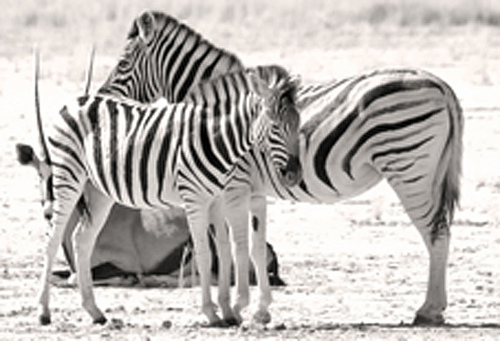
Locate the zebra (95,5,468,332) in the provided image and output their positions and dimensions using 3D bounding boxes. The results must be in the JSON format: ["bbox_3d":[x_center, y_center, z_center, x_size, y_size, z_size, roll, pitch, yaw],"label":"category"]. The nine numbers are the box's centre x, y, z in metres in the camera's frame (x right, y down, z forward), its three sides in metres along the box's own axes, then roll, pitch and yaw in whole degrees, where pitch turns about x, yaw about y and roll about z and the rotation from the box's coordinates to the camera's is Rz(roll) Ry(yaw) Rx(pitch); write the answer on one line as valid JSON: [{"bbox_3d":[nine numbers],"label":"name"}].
[{"bbox_3d":[0.463,0.159,18.769,6.113,4.849,1.940,1,11,5],"label":"zebra"}]
